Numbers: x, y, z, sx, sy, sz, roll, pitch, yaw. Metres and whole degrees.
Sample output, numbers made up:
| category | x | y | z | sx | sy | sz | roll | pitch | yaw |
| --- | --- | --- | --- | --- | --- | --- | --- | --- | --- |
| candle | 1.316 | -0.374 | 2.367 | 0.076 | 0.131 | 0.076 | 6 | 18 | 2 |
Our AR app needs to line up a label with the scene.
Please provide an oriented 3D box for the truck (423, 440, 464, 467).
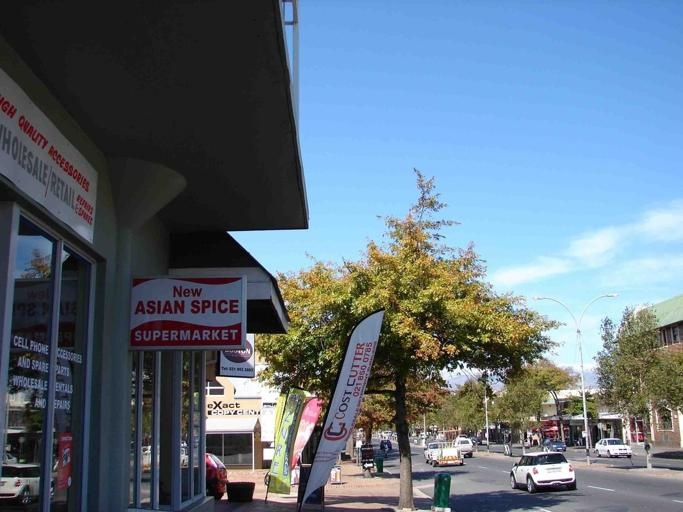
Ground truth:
| category | x | y | z | sx | sy | sz | roll | pitch | yaw |
| --- | --- | --- | --- | --- | --- | --- | --- | --- | --- |
| truck | 7.541 | 14.760 | 45.463 | 1.723 | 1.151 | 3.263 | 0 | -22 | -5 |

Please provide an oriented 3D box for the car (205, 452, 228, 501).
| category | x | y | z | sx | sy | sz | roll | pitch | yaw |
| --- | --- | --- | --- | --- | --- | --- | --- | --- | --- |
| car | -4.481 | 7.802 | 21.468 | 0.699 | 1.586 | 1.819 | 3 | -20 | -12 |

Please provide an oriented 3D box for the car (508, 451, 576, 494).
| category | x | y | z | sx | sy | sz | roll | pitch | yaw |
| --- | --- | --- | --- | --- | --- | --- | --- | --- | --- |
| car | 8.429 | 9.277 | 26.159 | 1.479 | 1.307 | 2.590 | 0 | -14 | -4 |
